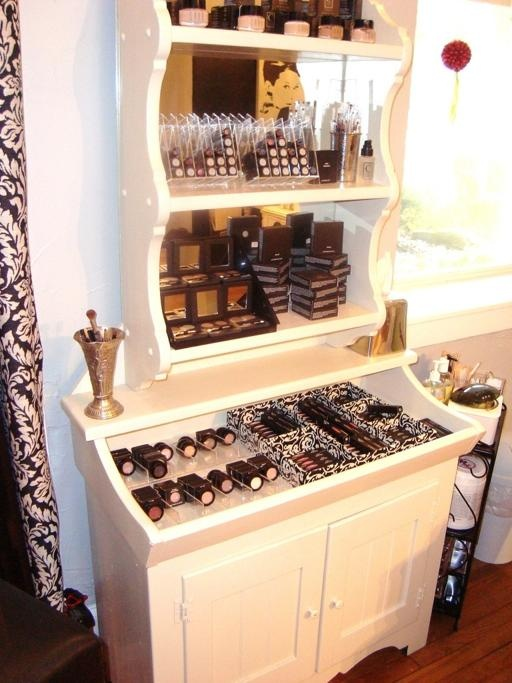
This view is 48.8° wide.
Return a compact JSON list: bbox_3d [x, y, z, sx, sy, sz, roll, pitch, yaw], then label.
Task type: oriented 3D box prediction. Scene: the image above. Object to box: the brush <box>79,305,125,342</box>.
[{"bbox_3d":[-0.330,-0.028,1.244,0.083,0.064,0.081,1,21,-44],"label":"brush"}]
